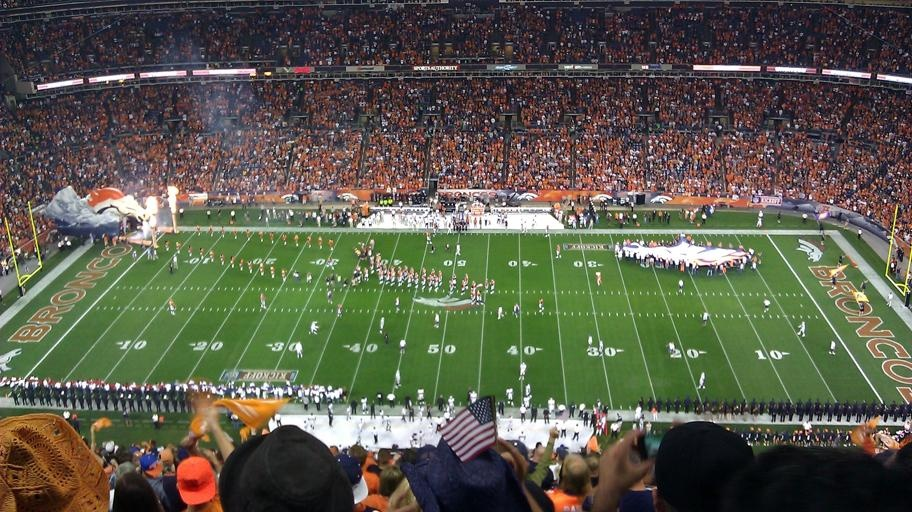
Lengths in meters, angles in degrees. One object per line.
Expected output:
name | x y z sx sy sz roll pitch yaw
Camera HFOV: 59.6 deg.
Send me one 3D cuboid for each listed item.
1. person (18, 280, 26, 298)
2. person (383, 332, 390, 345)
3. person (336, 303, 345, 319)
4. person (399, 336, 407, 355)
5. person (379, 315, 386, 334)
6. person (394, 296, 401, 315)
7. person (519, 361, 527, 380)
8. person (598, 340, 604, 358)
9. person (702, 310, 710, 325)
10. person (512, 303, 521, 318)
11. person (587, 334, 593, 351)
person | -35.968 2.764 66.187 0.382 0.884 1.267 -12 -48 -63
person | -5.343 6.265 61.187 0.289 0.935 0.381 -3 -17 -8
person | -9.300 4.312 63.841 0.575 1.494 0.650 5 -30 -10
person | -4.060 6.798 60.454 0.777 0.536 1.608 8 -37 0
person | -5.765 5.305 62.207 0.488 1.696 0.892 4 -30 -8
person | -4.743 3.848 64.400 0.505 1.783 0.894 4 -30 -7
person | 4.848 8.373 58.250 0.570 1.008 1.653 0 15 9
person | 10.926 6.898 60.055 0.379 1.513 0.567 -11 -31 18
person | 19.509 4.792 62.249 0.580 0.879 0.223 17 -20 7
person | 4.797 4.288 63.429 0.569 1.433 0.577 -5 -30 8
person | 10.183 6.513 60.506 0.392 1.486 0.631 -10 -31 16
